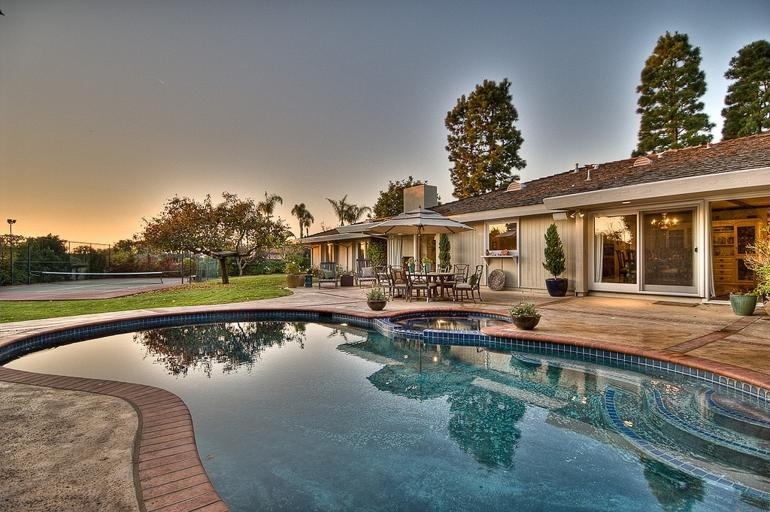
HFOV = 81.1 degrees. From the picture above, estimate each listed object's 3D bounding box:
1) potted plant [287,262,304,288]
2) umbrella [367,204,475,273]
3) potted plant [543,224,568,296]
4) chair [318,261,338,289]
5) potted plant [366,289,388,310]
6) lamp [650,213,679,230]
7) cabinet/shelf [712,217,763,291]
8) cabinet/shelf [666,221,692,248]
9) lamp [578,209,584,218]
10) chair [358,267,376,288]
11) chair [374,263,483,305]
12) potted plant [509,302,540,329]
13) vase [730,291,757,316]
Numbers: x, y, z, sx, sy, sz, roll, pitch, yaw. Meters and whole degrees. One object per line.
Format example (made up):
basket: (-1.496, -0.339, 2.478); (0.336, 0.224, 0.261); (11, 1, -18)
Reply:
potted plant: (-4.483, 0.958, 22.429); (1.168, 1.504, 1.105); (-1, -8, -3)
umbrella: (1.049, -0.633, 17.968); (3.074, 2.155, 5.036); (-2, -1, -7)
potted plant: (6.366, 0.113, 16.869); (0.827, 2.811, 0.819); (-2, -1, 19)
chair: (-2.920, 0.879, 23.057); (0.856, 1.158, 2.993); (-2, -1, -7)
potted plant: (-0.265, 1.349, 14.210); (0.628, 0.649, 0.605); (-2, 0, -4)
lamp: (9.288, -1.154, 14.995); (0.539, 0.401, 0.557); (2, 6, 43)
cabinet/shelf: (12.987, -0.070, 16.728); (1.324, 3.305, 0.719); (-3, -1, 39)
cabinet/shelf: (9.644, -0.706, 14.738); (0.485, 0.823, 0.846); (-2, 3, -29)
lamp: (7.087, -1.540, 16.274); (0.299, 0.287, 0.127); (-2, -1, -21)
chair: (-0.855, 0.928, 21.546); (0.843, 1.009, 1.052); (0, -6, -3)
chair: (1.644, 0.969, 16.500); (3.608, 1.315, 2.508); (-2, -1, 4)
potted plant: (3.582, 1.564, 11.750); (0.619, 0.460, 0.674); (1, -7, -3)
vase: (9.994, 1.309, 12.475); (0.623, 0.554, 0.656); (0, -9, 5)
